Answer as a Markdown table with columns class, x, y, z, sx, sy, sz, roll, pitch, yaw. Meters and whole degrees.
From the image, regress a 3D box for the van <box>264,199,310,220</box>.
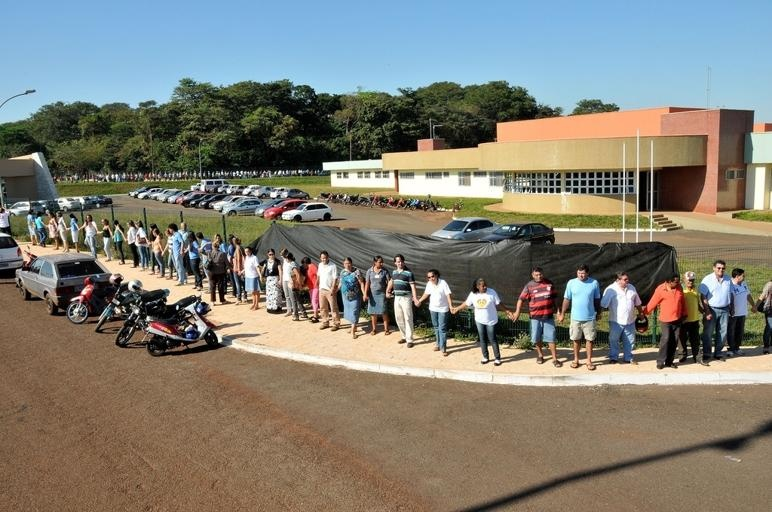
| class | x | y | z | sx | sy | sz | roll | pitch | yaw |
| --- | --- | --- | --- | --- | --- | --- | --- | --- | --- |
| van | -6.494 | -2.755 | 53.388 | 2.987 | 1.141 | 1.379 | -8 | 12 | -32 |

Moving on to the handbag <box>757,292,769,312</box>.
| class | x | y | z | sx | sy | sz | roll | pitch | yaw |
| --- | --- | --- | --- | --- | --- | --- | --- | --- | --- |
| handbag | 9.406 | 1.191 | 20.768 | 0.150 | 0.358 | 0.271 | 8 | 0 | 25 |

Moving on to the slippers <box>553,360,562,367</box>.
| class | x | y | z | sx | sy | sz | roll | pitch | yaw |
| --- | --- | --- | --- | --- | --- | --- | --- | --- | --- |
| slippers | 4.208 | 2.625 | 20.375 | 0.218 | 0.147 | 0.255 | -1 | 8 | 12 |

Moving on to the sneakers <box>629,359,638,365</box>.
| class | x | y | z | sx | sy | sz | roll | pitch | yaw |
| --- | --- | --- | --- | --- | --- | --- | --- | --- | --- |
| sneakers | 6.069 | 2.590 | 20.393 | 0.090 | 0.121 | 0.179 | -7 | -2 | -7 |

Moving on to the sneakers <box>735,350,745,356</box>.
| class | x | y | z | sx | sy | sz | roll | pitch | yaw |
| --- | --- | --- | --- | --- | --- | --- | --- | --- | --- |
| sneakers | 8.811 | 2.404 | 20.742 | 0.254 | 0.100 | 0.098 | 5 | 16 | 37 |

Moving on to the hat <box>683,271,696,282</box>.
| class | x | y | z | sx | sy | sz | roll | pitch | yaw |
| --- | --- | --- | --- | --- | --- | --- | --- | --- | --- |
| hat | 7.980 | 0.545 | 21.850 | 0.411 | 0.346 | 0.670 | 5 | 0 | 14 |

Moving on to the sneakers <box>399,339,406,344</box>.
| class | x | y | z | sx | sy | sz | roll | pitch | yaw |
| --- | --- | --- | --- | --- | --- | --- | --- | --- | --- |
| sneakers | 0.422 | 2.286 | 22.359 | 0.160 | 0.063 | 0.090 | 0 | 6 | -9 |

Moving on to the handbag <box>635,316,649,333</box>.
| class | x | y | z | sx | sy | sz | roll | pitch | yaw |
| --- | --- | --- | --- | --- | --- | --- | --- | --- | --- |
| handbag | 6.248 | 1.651 | 20.352 | 0.283 | 0.402 | 0.282 | -1 | 9 | 12 |

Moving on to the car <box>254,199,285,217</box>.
| class | x | y | z | sx | sy | sz | roll | pitch | yaw |
| --- | --- | --- | --- | --- | --- | --- | --- | --- | --- |
| car | -7.585 | -3.156 | 55.106 | 2.348 | 1.040 | 1.249 | -5 | 8 | -38 |

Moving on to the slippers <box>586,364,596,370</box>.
| class | x | y | z | sx | sy | sz | roll | pitch | yaw |
| --- | --- | --- | --- | --- | --- | --- | --- | --- | --- |
| slippers | 4.957 | 2.669 | 20.109 | 0.214 | 0.126 | 0.262 | 0 | 8 | 14 |

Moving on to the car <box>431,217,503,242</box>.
| class | x | y | z | sx | sy | sz | roll | pitch | yaw |
| --- | --- | --- | --- | --- | --- | --- | --- | --- | --- |
| car | 3.771 | -1.065 | 37.955 | 3.104 | 1.028 | 1.382 | -4 | 5 | -41 |

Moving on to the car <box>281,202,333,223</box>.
| class | x | y | z | sx | sy | sz | roll | pitch | yaw |
| --- | --- | --- | --- | --- | --- | --- | --- | --- | --- |
| car | -4.847 | -2.648 | 51.483 | 2.693 | 1.034 | 1.270 | 0 | 3 | -24 |

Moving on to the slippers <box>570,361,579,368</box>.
| class | x | y | z | sx | sy | sz | roll | pitch | yaw |
| --- | --- | --- | --- | --- | --- | --- | --- | --- | --- |
| slippers | 4.611 | 2.626 | 20.261 | 0.224 | 0.147 | 0.263 | -1 | 8 | 9 |

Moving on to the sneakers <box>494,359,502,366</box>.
| class | x | y | z | sx | sy | sz | roll | pitch | yaw |
| --- | --- | --- | --- | --- | --- | --- | --- | --- | --- |
| sneakers | 2.772 | 2.616 | 20.643 | 0.168 | 0.139 | 0.202 | -1 | 8 | 8 |

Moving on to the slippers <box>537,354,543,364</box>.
| class | x | y | z | sx | sy | sz | roll | pitch | yaw |
| --- | --- | --- | --- | --- | --- | --- | --- | --- | --- |
| slippers | 3.843 | 2.540 | 20.701 | 0.162 | 0.188 | 0.243 | -2 | 8 | 7 |

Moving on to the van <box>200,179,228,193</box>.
| class | x | y | z | sx | sy | sz | roll | pitch | yaw |
| --- | --- | --- | --- | --- | --- | --- | --- | --- | --- |
| van | -16.101 | -6.519 | 77.357 | 2.520 | 1.210 | 1.402 | -7 | 13 | -31 |

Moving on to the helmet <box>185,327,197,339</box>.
| class | x | y | z | sx | sy | sz | roll | pitch | yaw |
| --- | --- | --- | --- | --- | --- | --- | --- | --- | --- |
| helmet | -5.342 | 2.083 | 22.579 | 0.150 | 0.269 | 0.263 | -16 | -19 | 37 |

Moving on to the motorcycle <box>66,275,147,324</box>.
| class | x | y | z | sx | sy | sz | roll | pitch | yaw |
| --- | --- | --- | --- | --- | --- | --- | --- | --- | --- |
| motorcycle | -8.345 | 1.343 | 24.963 | 2.526 | 1.505 | 1.567 | -2 | 9 | -17 |
